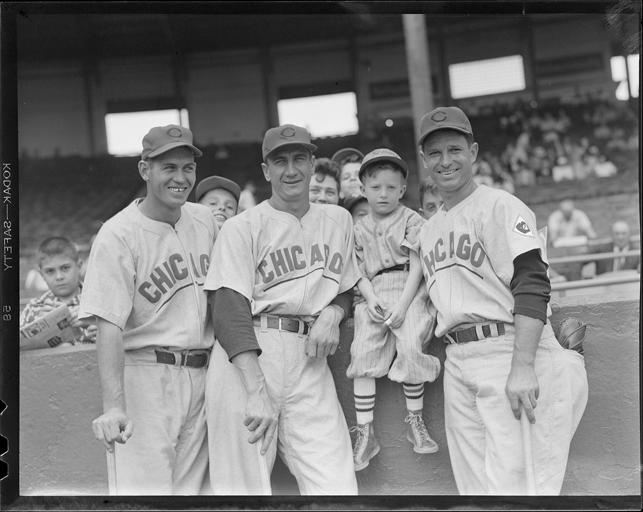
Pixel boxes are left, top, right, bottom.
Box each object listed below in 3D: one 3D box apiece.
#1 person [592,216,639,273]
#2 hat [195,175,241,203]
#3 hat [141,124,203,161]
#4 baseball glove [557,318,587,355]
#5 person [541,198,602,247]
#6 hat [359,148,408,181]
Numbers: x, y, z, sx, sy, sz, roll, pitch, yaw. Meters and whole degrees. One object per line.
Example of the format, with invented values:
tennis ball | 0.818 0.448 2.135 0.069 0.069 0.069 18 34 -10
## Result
person | 3.681 -0.115 15.149 0.505 0.547 1.738 3 12 13
hat | -0.972 -0.673 11.483 0.244 0.326 0.325 1 12 -18
hat | -1.242 -0.940 10.126 0.481 0.280 0.242 -2 12 -11
baseball glove | 2.155 0.647 10.489 0.229 0.297 0.295 15 9 15
person | 3.682 -0.480 17.908 0.678 1.113 0.615 -1 -33 6
hat | 0.528 -0.808 10.543 0.370 0.240 0.488 3 -3 -2
